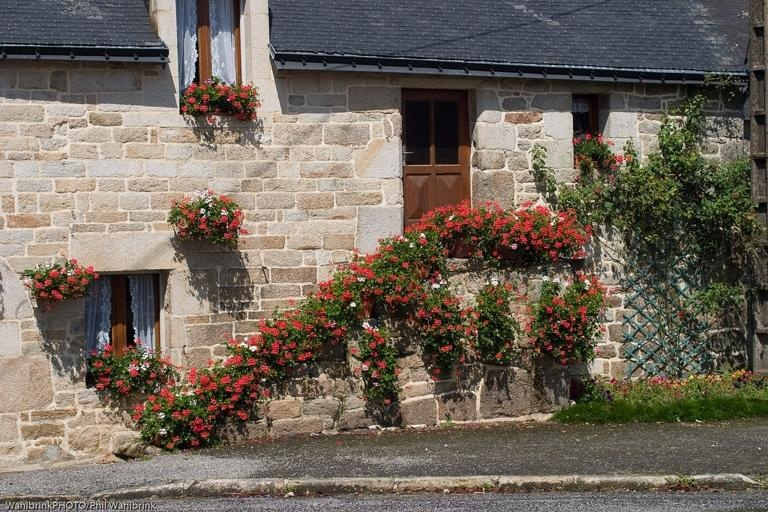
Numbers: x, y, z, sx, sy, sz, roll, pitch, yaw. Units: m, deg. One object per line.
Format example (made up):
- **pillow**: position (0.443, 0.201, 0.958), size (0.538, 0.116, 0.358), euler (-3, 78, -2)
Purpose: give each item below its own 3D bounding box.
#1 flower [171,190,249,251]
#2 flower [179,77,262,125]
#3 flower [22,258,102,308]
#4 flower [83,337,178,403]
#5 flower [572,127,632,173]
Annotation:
- **flower**: position (-2.524, -0.564, 22.645), size (0.860, 0.574, 0.670), euler (-1, 8, -42)
- **flower**: position (-2.271, -2.356, 22.880), size (0.725, 0.373, 0.629), euler (-10, 2, -20)
- **flower**: position (-4.784, 0.359, 22.118), size (0.849, 0.443, 0.769), euler (-1, -1, -42)
- **flower**: position (-3.796, 1.730, 22.555), size (0.994, 0.631, 1.080), euler (5, 4, 26)
- **flower**: position (3.471, -1.695, 24.022), size (0.684, 0.499, 0.737), euler (11, 14, -17)
